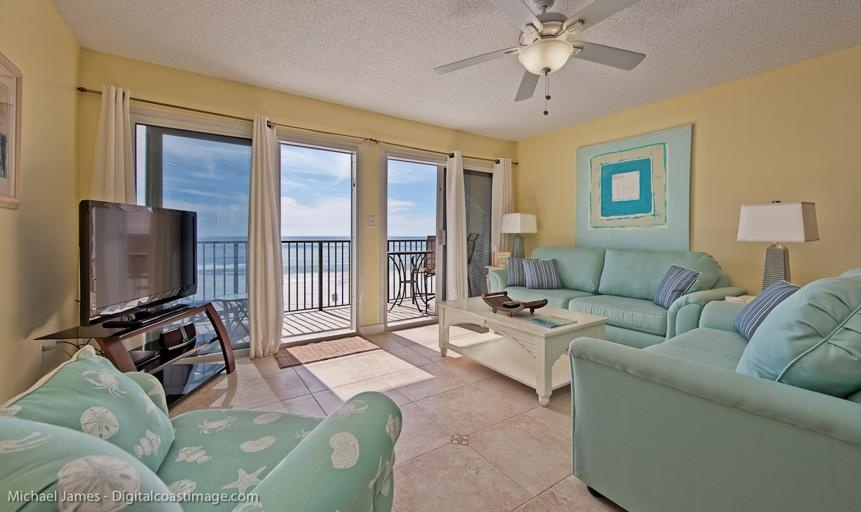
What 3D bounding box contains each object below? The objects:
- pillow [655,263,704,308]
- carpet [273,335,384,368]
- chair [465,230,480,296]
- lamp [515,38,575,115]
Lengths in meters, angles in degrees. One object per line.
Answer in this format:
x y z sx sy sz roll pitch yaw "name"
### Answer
2.464 0.313 4.945 0.136 0.384 0.420 27 6 -8 "pillow"
-1.169 1.025 5.322 1.100 0.050 0.632 -4 9 -34 "carpet"
0.587 0.100 6.867 0.157 0.876 0.320 2 10 8 "chair"
0.962 -1.570 4.092 0.631 0.289 0.591 -1 -9 15 "lamp"
